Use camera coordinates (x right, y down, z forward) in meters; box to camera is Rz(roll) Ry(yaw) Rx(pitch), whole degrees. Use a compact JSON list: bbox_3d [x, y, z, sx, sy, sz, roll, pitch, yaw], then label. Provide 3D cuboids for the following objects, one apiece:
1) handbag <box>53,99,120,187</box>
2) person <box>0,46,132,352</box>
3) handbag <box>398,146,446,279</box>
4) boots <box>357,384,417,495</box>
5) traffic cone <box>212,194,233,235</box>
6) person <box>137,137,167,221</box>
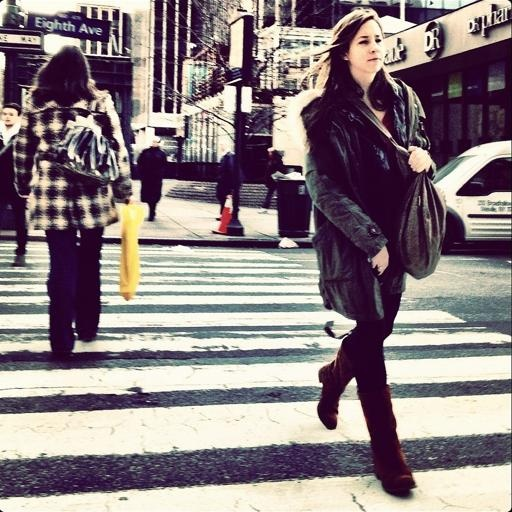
[{"bbox_3d":[-1.118,-0.743,4.621,0.304,0.409,0.594,-9,-28,29],"label":"handbag"},{"bbox_3d":[-1.276,-0.363,4.803,0.694,2.133,0.450,-4,10,-43],"label":"person"},{"bbox_3d":[0.729,-0.133,2.952,0.251,0.457,0.105,-3,9,-35],"label":"handbag"},{"bbox_3d":[0.553,0.763,2.874,0.168,0.407,0.297,1,7,-15],"label":"boots"},{"bbox_3d":[-0.689,-0.879,14.605,0.387,0.783,0.985,2,7,-4],"label":"traffic cone"},{"bbox_3d":[-2.594,-1.956,17.145,0.720,2.099,1.339,1,7,-10],"label":"person"}]
